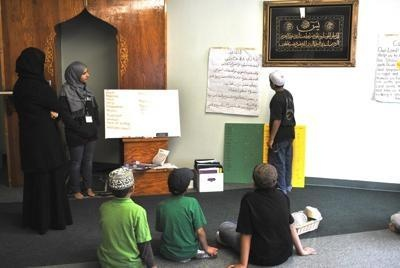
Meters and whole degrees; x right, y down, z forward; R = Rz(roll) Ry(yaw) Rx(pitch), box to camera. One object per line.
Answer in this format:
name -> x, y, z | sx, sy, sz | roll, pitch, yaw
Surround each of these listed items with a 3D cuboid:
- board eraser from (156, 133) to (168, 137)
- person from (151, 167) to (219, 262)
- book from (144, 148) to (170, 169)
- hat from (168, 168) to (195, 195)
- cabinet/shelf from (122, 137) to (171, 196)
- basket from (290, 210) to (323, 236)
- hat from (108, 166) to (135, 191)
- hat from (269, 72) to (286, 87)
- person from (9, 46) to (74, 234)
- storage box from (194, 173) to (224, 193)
board eraser -> -0.662, 0.015, 5.480 | 0.122, 0.062, 0.078 | 0, 0, -8
person -> -0.226, 0.997, 4.026 | 0.895, 1.081, 0.667 | 3, 10, 10
book -> -0.748, 0.400, 5.454 | 0.201, 0.367, 0.039 | 23, -17, 13
hat -> -0.215, 0.523, 3.584 | 0.279, 0.293, 0.189 | -2, 15, -7
cabinet/shelf -> -0.959, 0.410, 5.850 | 0.798, 1.180, 1.201 | -2, 5, -13
basket -> 1.387, 1.128, 4.299 | 0.384, 0.158, 0.246 | -12, 45, -27
hat -> -0.794, 0.458, 3.291 | 0.211, 0.145, 0.214 | 13, 22, 35
hat -> 1.234, -0.870, 5.294 | 0.192, 0.261, 0.141 | -1, -25, -12
person -> -2.078, 0.090, 4.190 | 0.613, 2.294, 0.621 | -6, 16, -23
storage box -> 0.169, 0.795, 5.461 | 0.344, 0.209, 0.342 | 0, 0, -9
